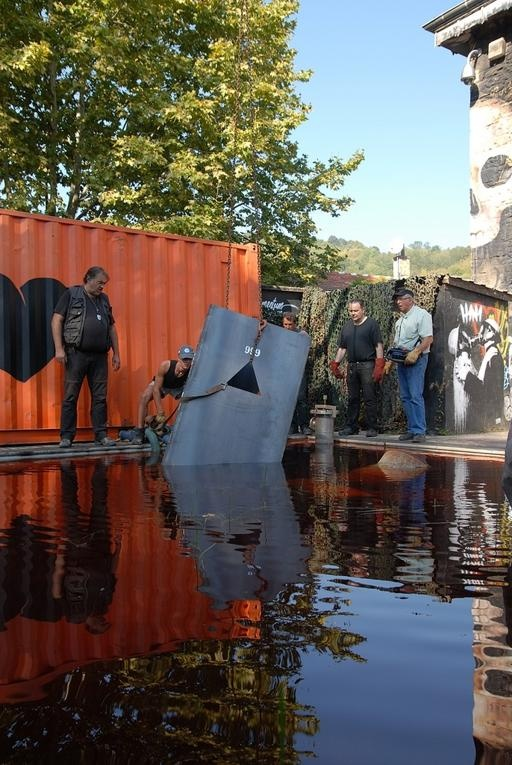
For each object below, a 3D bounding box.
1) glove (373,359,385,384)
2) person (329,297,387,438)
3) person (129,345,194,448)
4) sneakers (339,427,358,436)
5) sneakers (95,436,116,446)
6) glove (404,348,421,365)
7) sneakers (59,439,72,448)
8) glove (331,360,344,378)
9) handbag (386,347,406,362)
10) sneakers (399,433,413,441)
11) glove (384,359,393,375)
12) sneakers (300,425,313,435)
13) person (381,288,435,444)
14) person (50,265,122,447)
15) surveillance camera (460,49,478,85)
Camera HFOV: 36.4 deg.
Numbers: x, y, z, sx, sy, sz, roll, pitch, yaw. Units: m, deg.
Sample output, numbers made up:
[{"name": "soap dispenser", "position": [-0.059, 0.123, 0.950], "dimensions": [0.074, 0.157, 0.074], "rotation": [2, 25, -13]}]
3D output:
[{"name": "glove", "position": [1.214, -0.122, 7.655], "dimensions": [0.103, 0.199, 0.155], "rotation": [17, -2, 6]}, {"name": "person", "position": [1.052, -0.162, 7.975], "dimensions": [0.441, 1.400, 0.828], "rotation": [2, 2, -12]}, {"name": "person", "position": [-0.845, 0.104, 6.872], "dimensions": [0.456, 0.859, 1.305], "rotation": [2, 1, -9]}, {"name": "sneakers", "position": [0.953, 0.508, 8.108], "dimensions": [0.239, 0.093, 0.076], "rotation": [7, -8, -41]}, {"name": "sneakers", "position": [-1.253, 0.483, 6.506], "dimensions": [0.152, 0.056, 0.076], "rotation": [-3, -3, 35]}, {"name": "glove", "position": [1.458, -0.229, 7.146], "dimensions": [0.056, 0.153, 0.112], "rotation": [48, -15, -8]}, {"name": "sneakers", "position": [-1.527, 0.475, 6.226], "dimensions": [0.087, 0.064, 0.153], "rotation": [1, 1, -18]}, {"name": "glove", "position": [0.899, -0.150, 8.670], "dimensions": [0.068, 0.211, 0.160], "rotation": [-28, 7, -4]}, {"name": "handbag", "position": [1.318, -0.265, 7.289], "dimensions": [0.229, 0.139, 0.163], "rotation": [2, 2, 21]}, {"name": "sneakers", "position": [1.379, 0.502, 7.155], "dimensions": [0.060, 0.065, 0.168], "rotation": [-3, -9, 33]}, {"name": "glove", "position": [1.484, -0.170, 8.590], "dimensions": [0.044, 0.149, 0.162], "rotation": [25, 34, 38]}, {"name": "sneakers", "position": [0.572, 0.536, 8.910], "dimensions": [0.084, 0.090, 0.239], "rotation": [-1, -8, -2]}, {"name": "person", "position": [1.440, -0.187, 7.277], "dimensions": [0.391, 1.402, 0.626], "rotation": [2, 2, -8]}, {"name": "person", "position": [-1.414, -0.236, 6.511], "dimensions": [0.588, 1.482, 0.518], "rotation": [1, 2, -34]}, {"name": "surveillance camera", "position": [4.169, -6.195, 15.207], "dimensions": [0.225, 0.831, 0.590], "rotation": [3, 2, 31]}]
